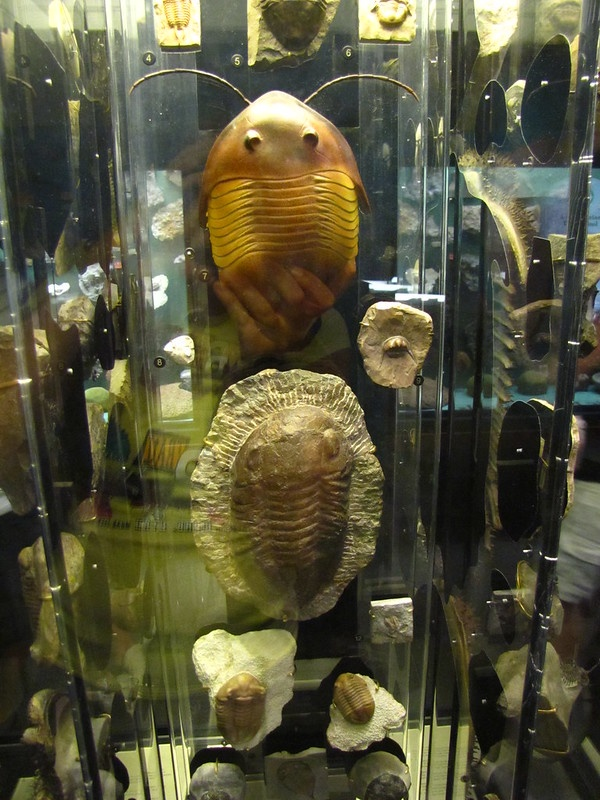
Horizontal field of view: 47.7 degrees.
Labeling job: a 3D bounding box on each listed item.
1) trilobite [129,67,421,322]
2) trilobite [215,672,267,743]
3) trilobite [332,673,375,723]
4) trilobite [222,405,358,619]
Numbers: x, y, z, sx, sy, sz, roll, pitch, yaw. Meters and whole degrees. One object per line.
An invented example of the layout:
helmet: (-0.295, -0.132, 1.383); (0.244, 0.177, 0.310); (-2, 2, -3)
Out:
trilobite: (-0.019, -0.360, 1.224); (0.437, 0.518, 0.116); (-11, -10, -8)
trilobite: (-0.119, 0.613, 1.329); (0.092, 0.146, 0.035); (11, 15, -28)
trilobite: (0.112, 0.631, 1.426); (0.080, 0.090, 0.062); (-7, 16, -14)
trilobite: (0.000, 0.205, 1.285); (0.295, 0.101, 0.486); (-12, 44, 17)
